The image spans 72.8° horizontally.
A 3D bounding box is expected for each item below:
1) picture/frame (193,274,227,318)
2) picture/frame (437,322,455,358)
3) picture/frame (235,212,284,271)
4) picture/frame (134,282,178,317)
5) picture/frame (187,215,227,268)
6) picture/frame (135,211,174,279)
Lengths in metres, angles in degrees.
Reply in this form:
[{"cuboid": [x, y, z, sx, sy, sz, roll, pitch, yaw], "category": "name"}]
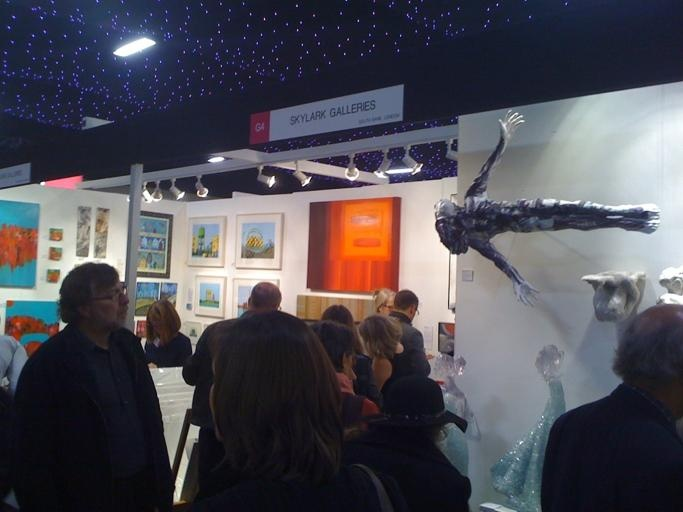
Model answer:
[{"cuboid": [-2.470, 0.772, 8.753, 0.757, 0.830, 0.075, -2, -4, 38], "category": "picture/frame"}, {"cuboid": [1.424, 1.117, 6.283, 0.108, 0.423, 0.275, 4, -4, -28], "category": "picture/frame"}, {"cuboid": [-1.421, -0.252, 8.171, 0.923, 1.054, 0.040, 2, 1, 36], "category": "picture/frame"}, {"cuboid": [-3.035, 0.687, 7.425, 0.009, 0.632, 0.812, -7, -8, 36], "category": "picture/frame"}, {"cuboid": [-2.563, -0.270, 8.897, 0.935, 1.064, 0.041, 1, 0, 44], "category": "picture/frame"}, {"cuboid": [-3.446, -0.211, 8.441, 0.047, 1.505, 1.189, 2, 1, 30], "category": "picture/frame"}]
